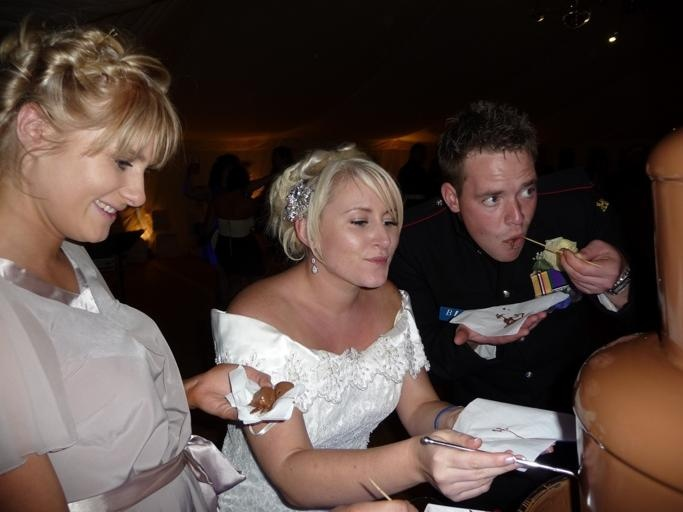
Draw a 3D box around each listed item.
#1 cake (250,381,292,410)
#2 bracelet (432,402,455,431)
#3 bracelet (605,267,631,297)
[{"bbox_3d":[-0.221,0.447,1.715,0.089,0.054,0.140,-44,-3,18],"label":"cake"},{"bbox_3d":[0.382,0.610,1.996,0.080,0.066,0.083,9,38,16],"label":"bracelet"},{"bbox_3d":[1.126,0.105,2.216,0.073,0.120,0.089,36,3,11],"label":"bracelet"}]
